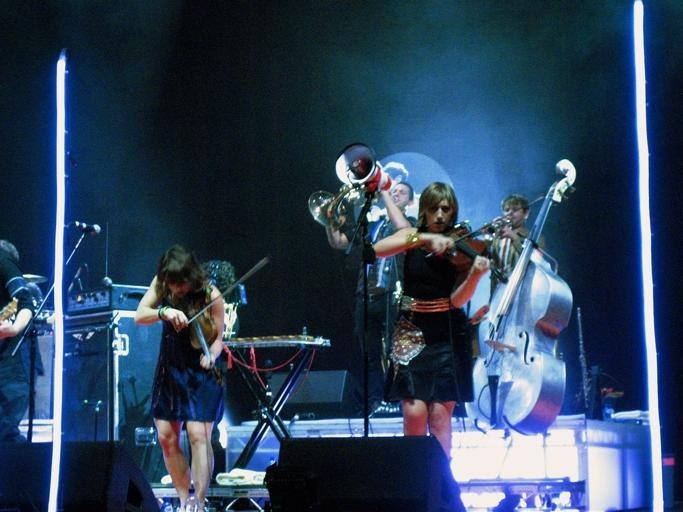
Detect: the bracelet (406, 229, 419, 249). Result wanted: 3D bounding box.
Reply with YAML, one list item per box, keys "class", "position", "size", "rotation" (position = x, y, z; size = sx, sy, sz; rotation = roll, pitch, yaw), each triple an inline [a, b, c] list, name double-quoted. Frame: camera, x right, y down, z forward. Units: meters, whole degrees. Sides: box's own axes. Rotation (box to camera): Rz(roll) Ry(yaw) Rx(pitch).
- class: "bracelet"
  position: [0.486, -0.112, 5.200]
  size: [0.072, 0.094, 0.102]
  rotation: [-9, -35, 15]

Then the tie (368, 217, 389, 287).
- class: "tie"
  position: [0.355, 0.001, 6.841]
  size: [0.264, 0.538, 0.117]
  rotation: [-5, -12, 30]

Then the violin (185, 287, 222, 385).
- class: "violin"
  position: [-1.007, 0.581, 5.548]
  size: [0.221, 0.648, 0.217]
  rotation: [1, -1, -28]

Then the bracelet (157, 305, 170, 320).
- class: "bracelet"
  position: [-1.302, 0.410, 5.531]
  size: [0.072, 0.101, 0.085]
  rotation: [3, -1, -12]

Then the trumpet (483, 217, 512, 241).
- class: "trumpet"
  position: [1.210, -0.215, 5.948]
  size: [0.213, 0.150, 0.641]
  rotation: [44, 13, 10]

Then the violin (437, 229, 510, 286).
- class: "violin"
  position: [0.942, 0.106, 5.382]
  size: [0.133, 0.367, 0.691]
  rotation: [-8, -46, 40]

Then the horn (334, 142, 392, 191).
- class: "horn"
  position: [0.144, -0.592, 5.385]
  size: [0.331, 0.348, 0.414]
  rotation: [-1, -11, 7]
